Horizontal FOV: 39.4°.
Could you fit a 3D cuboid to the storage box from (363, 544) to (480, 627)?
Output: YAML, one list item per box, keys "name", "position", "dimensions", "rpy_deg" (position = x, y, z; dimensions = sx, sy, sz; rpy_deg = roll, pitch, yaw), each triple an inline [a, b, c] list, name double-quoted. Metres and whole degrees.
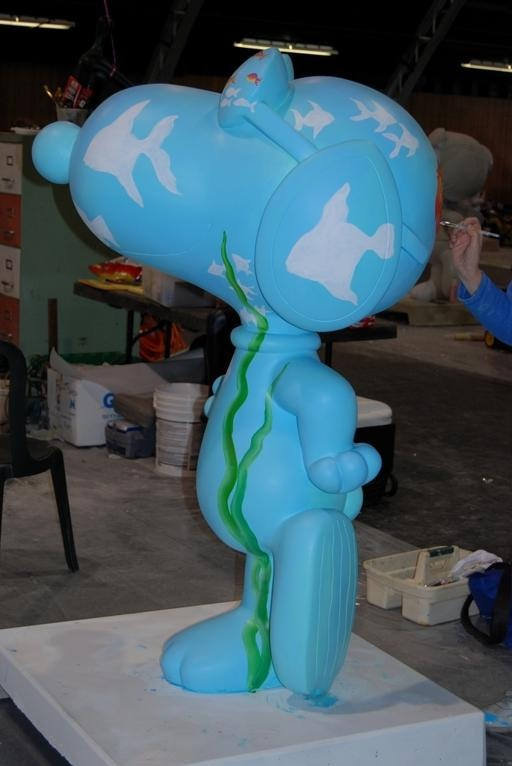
- name: "storage box"
  position: [0.660, 0.763, 2.710]
  dimensions: [0.316, 0.096, 0.248]
  rpy_deg: [-3, 6, -37]

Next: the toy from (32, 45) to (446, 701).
- name: "toy"
  position: [-0.025, 0.005, 1.234]
  dimensions: [0.608, 1.130, 0.391]
  rpy_deg: [3, -3, 18]

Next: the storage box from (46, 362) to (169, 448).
- name: "storage box"
  position: [-1.030, 0.085, 4.914]
  dimensions: [0.682, 0.593, 0.651]
  rpy_deg: [-4, 12, -24]
